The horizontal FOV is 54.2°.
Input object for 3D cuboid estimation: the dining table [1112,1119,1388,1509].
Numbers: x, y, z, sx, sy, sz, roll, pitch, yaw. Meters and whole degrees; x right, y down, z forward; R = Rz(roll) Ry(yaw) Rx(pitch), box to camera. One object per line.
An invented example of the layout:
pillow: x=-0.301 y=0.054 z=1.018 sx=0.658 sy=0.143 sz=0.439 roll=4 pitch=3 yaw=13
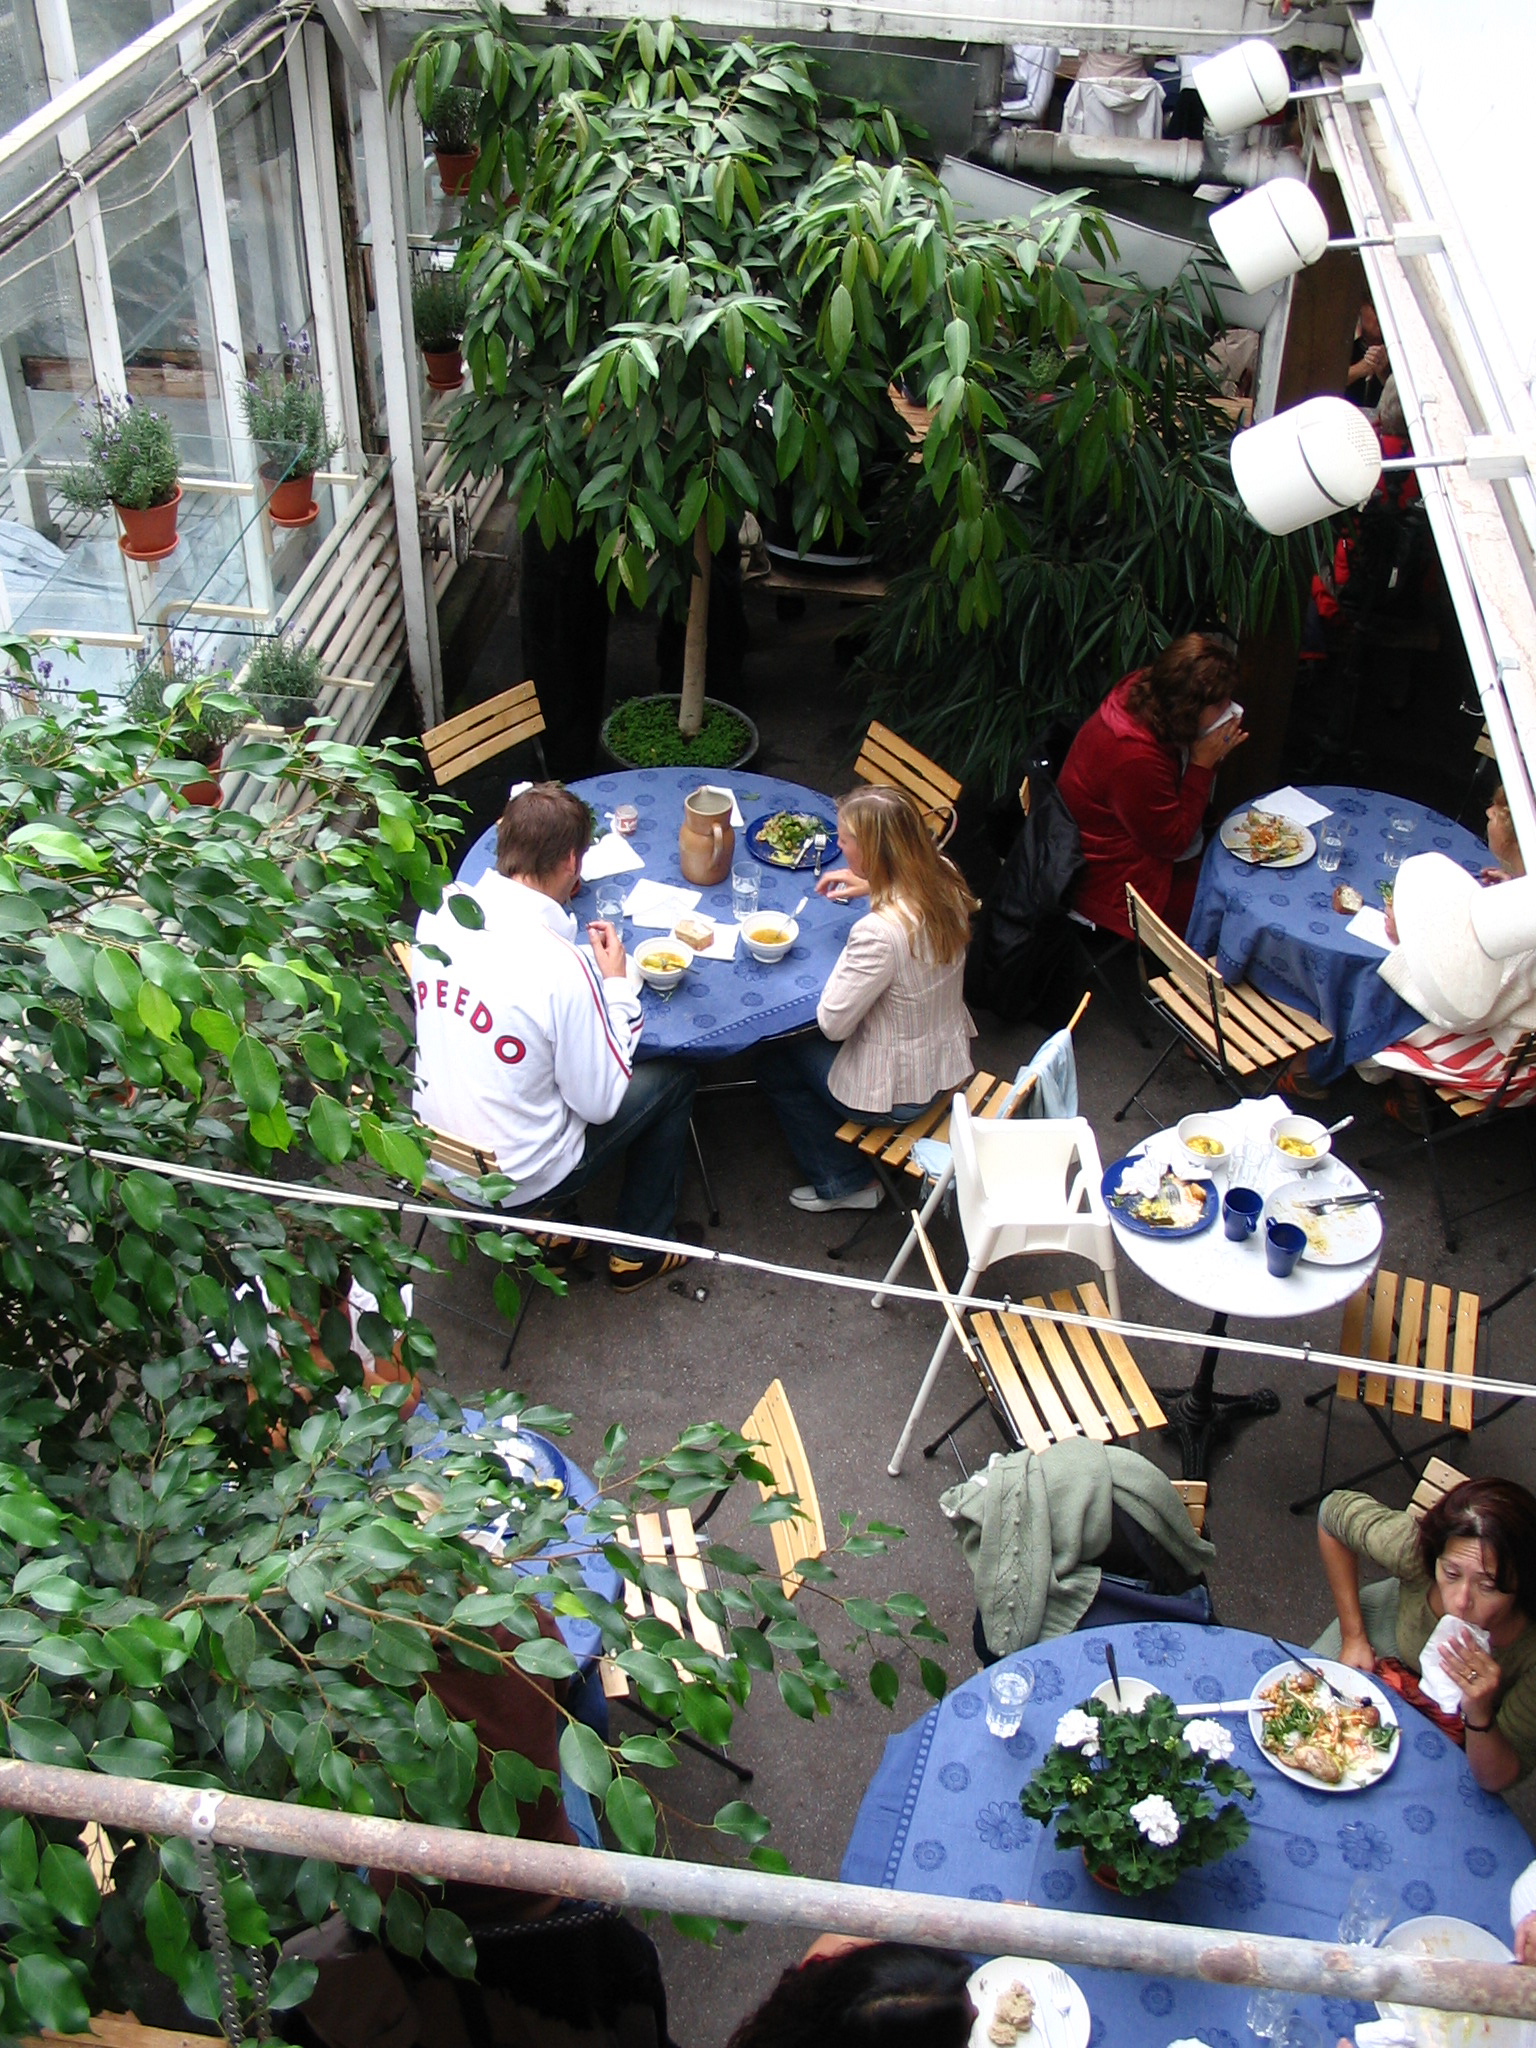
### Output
dining table: x=1.379 y=0.853 z=4.272 sx=0.790 sy=0.812 sz=0.699 roll=-12 pitch=52 yaw=-12

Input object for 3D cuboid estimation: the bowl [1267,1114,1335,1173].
bowl: x=1.556 y=0.349 z=4.377 sx=0.179 sy=0.118 sz=0.138 roll=-1 pitch=52 yaw=1

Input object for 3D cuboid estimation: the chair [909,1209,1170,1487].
chair: x=0.764 y=0.932 z=4.217 sx=0.621 sy=0.835 sz=0.600 roll=-8 pitch=64 yaw=-7

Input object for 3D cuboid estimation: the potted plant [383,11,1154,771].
potted plant: x=-0.096 y=-2.450 z=5.638 sx=2.390 sy=2.771 sz=1.442 roll=-2 pitch=19 yaw=8

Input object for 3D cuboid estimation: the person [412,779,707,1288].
person: x=-0.594 y=0.072 z=4.336 sx=0.745 sy=1.582 sz=0.892 roll=34 pitch=60 yaw=14

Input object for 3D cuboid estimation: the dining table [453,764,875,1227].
dining table: x=-0.277 y=-0.224 z=5.689 sx=1.642 sy=1.001 sz=1.452 roll=7 pitch=70 yaw=-4

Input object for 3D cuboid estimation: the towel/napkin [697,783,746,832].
towel/napkin: x=-0.180 y=-0.807 z=5.387 sx=0.128 sy=0.188 sz=0.193 roll=-16 pitch=56 yaw=-9

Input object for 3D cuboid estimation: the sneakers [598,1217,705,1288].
sneakers: x=-0.425 y=0.777 z=5.081 sx=0.425 sy=0.156 sz=0.137 roll=-12 pitch=71 yaw=-12

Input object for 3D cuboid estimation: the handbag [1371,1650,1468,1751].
handbag: x=1.411 y=1.466 z=3.244 sx=0.166 sy=0.052 sz=0.130 roll=40 pitch=26 yaw=25

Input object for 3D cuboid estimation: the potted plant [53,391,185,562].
potted plant: x=-1.903 y=-1.616 z=4.487 sx=0.317 sy=0.379 sz=0.298 roll=16 pitch=35 yaw=26

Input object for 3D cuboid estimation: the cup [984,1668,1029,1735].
cup: x=0.472 y=1.350 z=2.976 sx=0.096 sy=0.139 sz=0.088 roll=1 pitch=20 yaw=0

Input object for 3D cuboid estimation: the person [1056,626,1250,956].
person: x=1.563 y=-0.758 z=5.992 sx=0.883 sy=1.482 sz=0.633 roll=-7 pitch=33 yaw=1

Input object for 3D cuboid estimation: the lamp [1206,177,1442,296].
lamp: x=1.272 y=-1.906 z=3.571 sx=0.274 sy=0.243 sz=0.388 roll=-16 pitch=22 yaw=-31

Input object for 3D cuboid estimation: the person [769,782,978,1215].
person: x=0.339 y=-0.046 z=4.983 sx=0.564 sy=1.540 sz=0.607 roll=-15 pitch=21 yaw=-26

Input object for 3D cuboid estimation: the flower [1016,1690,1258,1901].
flower: x=0.617 y=1.339 z=2.708 sx=0.410 sy=0.356 sz=0.381 roll=-13 pitch=53 yaw=-3

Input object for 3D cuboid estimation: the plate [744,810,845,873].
plate: x=0.092 y=-0.659 z=5.473 sx=0.261 sy=0.065 sz=0.249 roll=-21 pitch=48 yaw=-23

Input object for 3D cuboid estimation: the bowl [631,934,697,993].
bowl: x=-0.355 y=-0.197 z=4.913 sx=0.175 sy=0.079 sz=0.167 roll=1 pitch=45 yaw=-1

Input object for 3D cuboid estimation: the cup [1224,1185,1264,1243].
cup: x=1.320 y=0.528 z=4.144 sx=0.119 sy=0.140 sz=0.102 roll=-4 pitch=19 yaw=3

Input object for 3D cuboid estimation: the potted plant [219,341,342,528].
potted plant: x=-1.867 y=-2.228 z=5.742 sx=0.274 sy=0.562 sz=0.236 roll=-10 pitch=44 yaw=-31

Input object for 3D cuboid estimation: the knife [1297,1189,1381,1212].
knife: x=1.606 y=0.498 z=4.231 sx=0.224 sy=0.072 sz=0.037 roll=-4 pitch=-6 yaw=2

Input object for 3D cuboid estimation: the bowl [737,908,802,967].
bowl: x=-0.006 y=-0.299 z=5.056 sx=0.180 sy=0.081 sz=0.174 roll=0 pitch=46 yaw=0
